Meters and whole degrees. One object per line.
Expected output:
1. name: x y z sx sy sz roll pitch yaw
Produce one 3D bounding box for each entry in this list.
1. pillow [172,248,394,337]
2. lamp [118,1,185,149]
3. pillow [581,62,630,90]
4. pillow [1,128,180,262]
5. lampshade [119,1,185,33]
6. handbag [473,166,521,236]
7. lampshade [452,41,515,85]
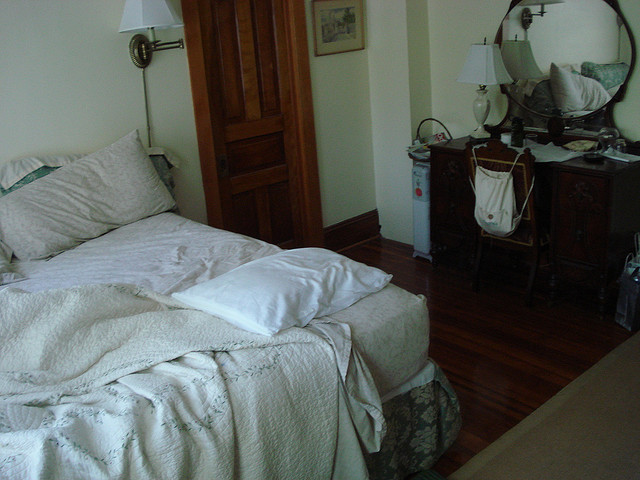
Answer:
1. pillow: -0.171 0.208 2.331 0.863 0.201 0.738 -11 18 -33
2. lamp: -1.044 -1.230 3.242 0.387 0.481 0.313 10 21 41
3. pillow: 1.983 -1.144 3.523 0.293 0.168 0.048 18 35 39
4. pillow: -1.406 -0.233 2.995 1.012 0.635 0.272 -32 11 -34
5. lampshade: -1.047 -1.366 3.076 0.359 0.169 0.241 -16 29 -18
6. handbag: 1.214 -0.271 3.499 0.316 0.451 0.208 21 46 39
7. lampshade: 1.212 -1.285 3.748 0.346 0.256 0.354 18 31 39
